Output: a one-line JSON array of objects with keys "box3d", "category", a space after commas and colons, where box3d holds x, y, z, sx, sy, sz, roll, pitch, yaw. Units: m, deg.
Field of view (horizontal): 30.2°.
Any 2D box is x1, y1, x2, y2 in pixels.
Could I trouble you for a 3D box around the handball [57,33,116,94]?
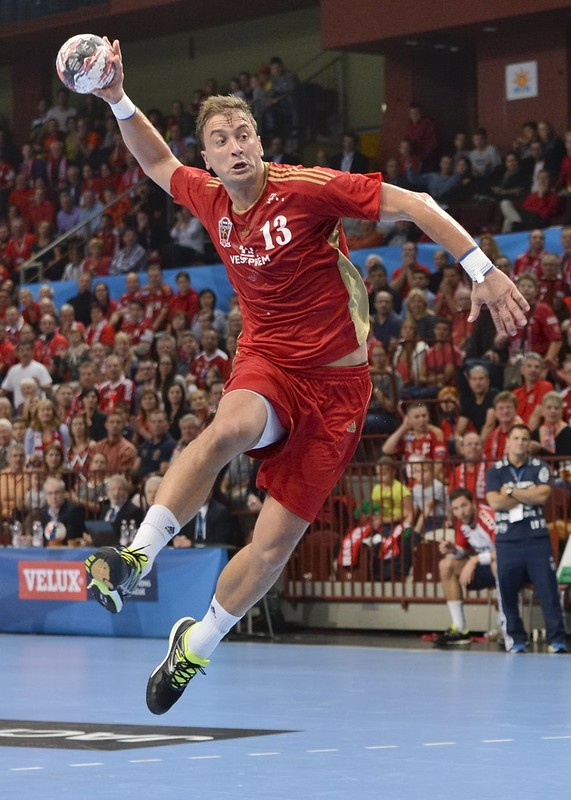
[{"box3d": [-0.847, -1.444, 4.490, 0.242, 0.288, 0.216, -3, -2, -8], "category": "handball"}]
